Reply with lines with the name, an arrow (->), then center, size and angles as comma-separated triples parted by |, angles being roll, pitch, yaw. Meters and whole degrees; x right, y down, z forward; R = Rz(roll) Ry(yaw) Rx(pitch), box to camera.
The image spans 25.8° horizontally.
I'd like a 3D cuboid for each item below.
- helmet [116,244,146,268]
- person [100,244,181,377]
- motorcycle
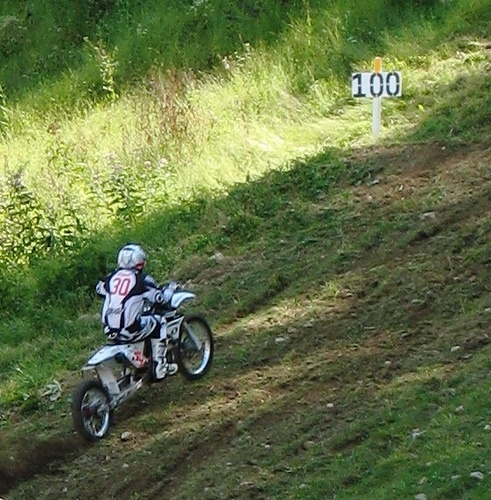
helmet -> -1.206, 0.058, 11.251 | 0.194, 0.286, 0.230 | 6, -21, 12
person -> -1.213, 0.646, 11.377 | 0.699, 1.521, 0.749 | -12, 20, -39
motorcycle -> -1.105, 1.035, 11.239 | 1.964, 1.333, 0.782 | -28, 26, -37
